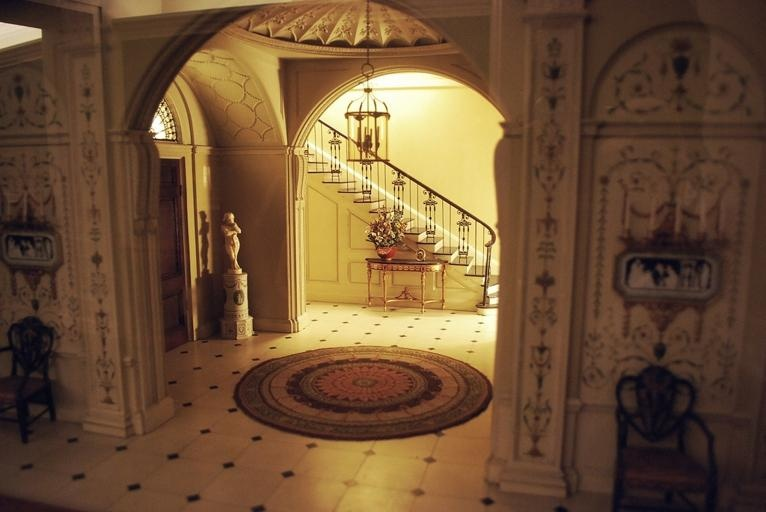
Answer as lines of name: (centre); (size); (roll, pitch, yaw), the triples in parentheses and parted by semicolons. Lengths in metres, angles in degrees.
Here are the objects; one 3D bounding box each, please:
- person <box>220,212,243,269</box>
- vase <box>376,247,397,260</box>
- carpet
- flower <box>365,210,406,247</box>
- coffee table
person: (-2.238, -0.207, 9.741); (0.288, 0.867, 0.536); (-2, 6, -12)
vase: (0.045, -0.042, 11.142); (0.257, 0.161, 0.248); (-4, 10, -15)
carpet: (-0.248, 1.646, 7.829); (2.977, 0.359, 2.007); (0, 6, 4)
flower: (0.082, -0.467, 11.251); (0.654, 0.616, 0.635); (2, 3, 11)
coffee table: (0.387, 0.474, 11.315); (1.396, 0.897, 0.583); (-1, 6, 4)
